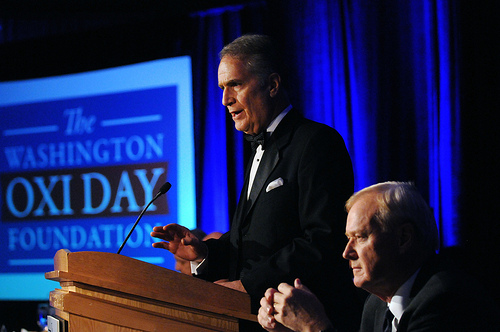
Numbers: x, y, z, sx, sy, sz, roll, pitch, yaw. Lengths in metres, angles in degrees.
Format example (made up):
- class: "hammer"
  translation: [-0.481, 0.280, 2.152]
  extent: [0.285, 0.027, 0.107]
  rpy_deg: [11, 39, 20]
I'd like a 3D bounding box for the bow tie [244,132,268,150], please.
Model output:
- class: "bow tie"
  translation: [0.055, -0.183, 4.484]
  extent: [0.125, 0.045, 0.120]
  rpy_deg: [4, 28, -32]
